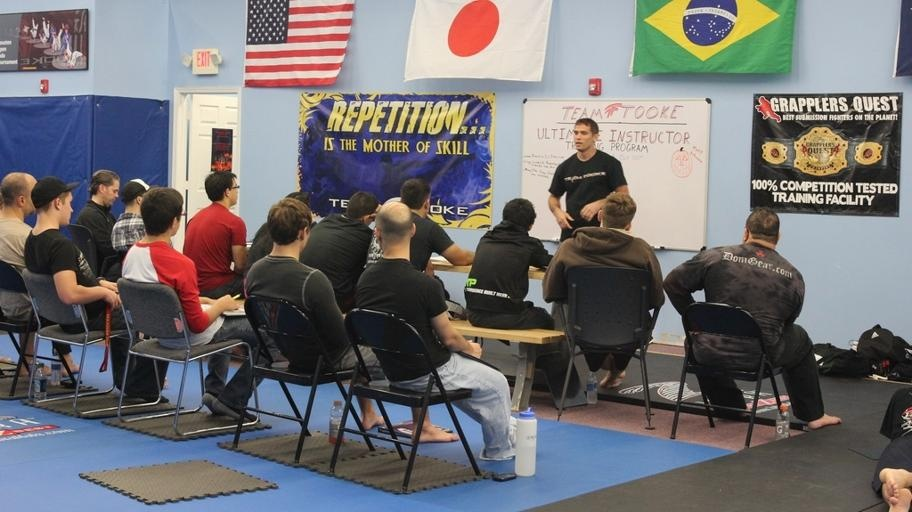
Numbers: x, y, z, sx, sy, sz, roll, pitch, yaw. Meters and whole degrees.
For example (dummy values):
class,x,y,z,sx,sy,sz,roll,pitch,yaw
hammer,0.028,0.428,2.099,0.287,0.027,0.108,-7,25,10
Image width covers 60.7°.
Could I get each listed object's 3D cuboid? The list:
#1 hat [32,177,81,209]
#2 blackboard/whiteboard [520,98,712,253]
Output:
class,x,y,z,sx,sy,sz,roll,pitch,yaw
hat,-4.137,-0.658,8.033,0.454,0.230,0.284,-33,24,-24
blackboard/whiteboard,2.182,-1.050,10.029,2.330,1.636,0.255,1,2,17
